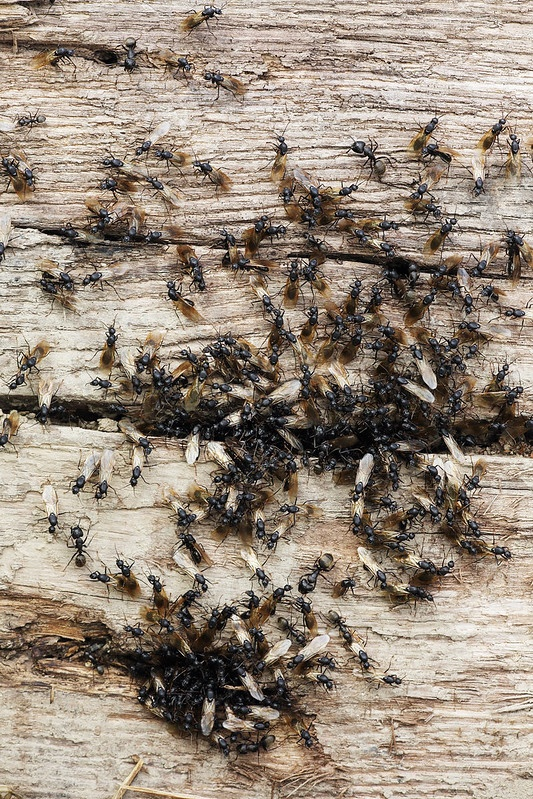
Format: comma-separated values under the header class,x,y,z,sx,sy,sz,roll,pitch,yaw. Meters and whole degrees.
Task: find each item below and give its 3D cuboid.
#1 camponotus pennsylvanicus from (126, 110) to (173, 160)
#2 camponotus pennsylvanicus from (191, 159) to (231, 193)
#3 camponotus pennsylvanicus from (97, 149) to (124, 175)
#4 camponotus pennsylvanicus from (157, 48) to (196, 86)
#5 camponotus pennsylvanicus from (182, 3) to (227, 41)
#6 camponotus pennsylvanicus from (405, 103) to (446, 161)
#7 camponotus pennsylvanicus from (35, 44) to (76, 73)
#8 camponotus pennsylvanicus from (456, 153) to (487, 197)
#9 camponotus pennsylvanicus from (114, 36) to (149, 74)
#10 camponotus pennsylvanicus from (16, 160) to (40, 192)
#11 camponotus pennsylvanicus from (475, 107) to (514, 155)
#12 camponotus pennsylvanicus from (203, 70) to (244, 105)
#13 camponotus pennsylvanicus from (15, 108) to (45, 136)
class,x,y,z,sx,sy,sz,roll,pitch,yaw
camponotus pennsylvanicus,-0.855,-2.000,7.681,0.140,0.192,0.442,42,91,-1
camponotus pennsylvanicus,-0.422,-1.708,7.735,0.273,0.083,0.196,40,72,-17
camponotus pennsylvanicus,-1.196,-1.803,7.628,0.045,0.147,0.103,7,88,41
camponotus pennsylvanicus,-0.705,-2.555,7.652,0.291,0.119,0.176,11,73,3
camponotus pennsylvanicus,-0.485,-2.875,7.600,0.351,0.168,0.143,-22,75,-7
camponotus pennsylvanicus,1.219,-2.016,7.704,0.234,0.095,0.306,37,92,24
camponotus pennsylvanicus,-1.629,-2.603,7.638,0.325,0.084,0.142,0,73,-1
camponotus pennsylvanicus,1.613,-1.755,7.800,0.248,0.090,0.281,2,101,-8
camponotus pennsylvanicus,-1.015,-2.617,7.677,0.213,0.090,0.244,2,88,-3
camponotus pennsylvanicus,-1.840,-1.704,7.669,0.158,0.066,0.204,-22,96,-34
camponotus pennsylvanicus,1.764,-2.059,7.769,0.277,0.086,0.205,-49,58,6
camponotus pennsylvanicus,-0.322,-2.414,7.661,0.232,0.068,0.199,21,83,-34
camponotus pennsylvanicus,-1.811,-2.133,7.650,0.227,0.068,0.129,-5,73,-2
